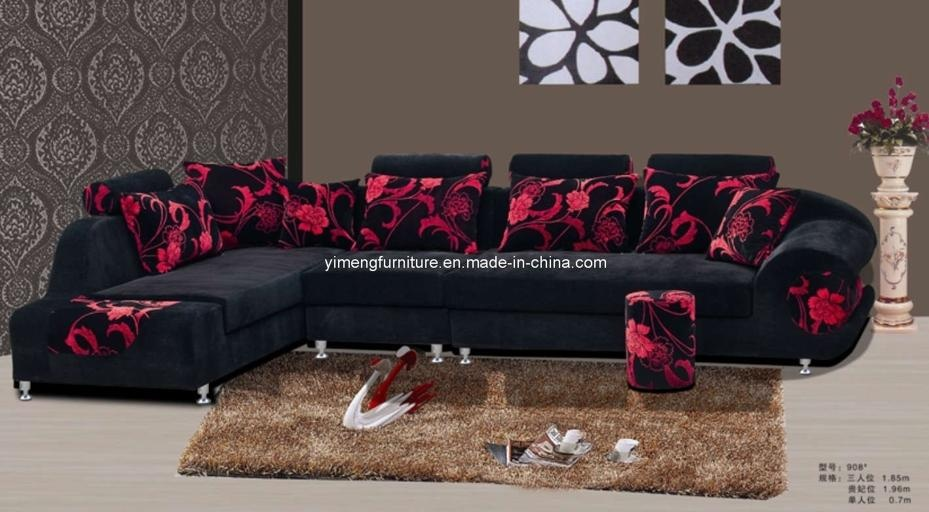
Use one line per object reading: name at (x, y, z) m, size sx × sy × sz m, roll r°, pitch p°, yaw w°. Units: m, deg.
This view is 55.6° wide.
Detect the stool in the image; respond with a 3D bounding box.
stool at (1.304, 0.578, 6.099) m, size 0.618 × 0.651 × 0.586 m, roll -2°, pitch 3°, yaw -20°

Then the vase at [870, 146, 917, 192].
vase at (3.424, -0.685, 7.020) m, size 0.365 × 0.378 × 0.344 m, roll 2°, pitch 3°, yaw 30°

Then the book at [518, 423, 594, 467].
book at (0.531, 1.124, 5.161) m, size 0.273 × 0.090 × 0.281 m, roll -3°, pitch 7°, yaw 22°
